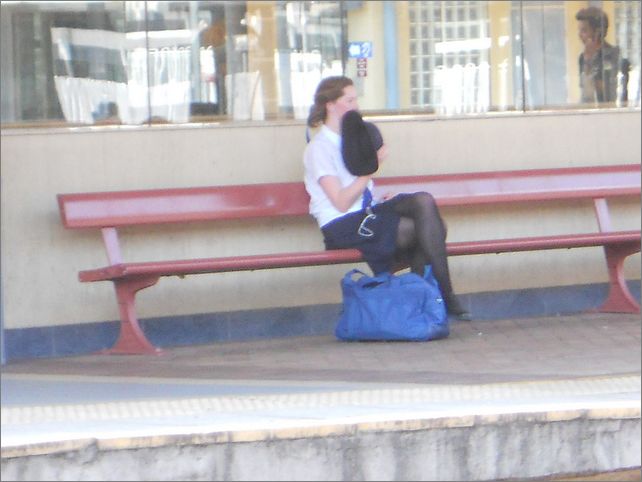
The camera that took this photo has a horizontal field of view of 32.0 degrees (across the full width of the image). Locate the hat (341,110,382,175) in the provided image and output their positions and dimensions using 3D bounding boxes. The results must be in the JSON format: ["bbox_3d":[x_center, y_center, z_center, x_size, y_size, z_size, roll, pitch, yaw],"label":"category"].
[{"bbox_3d":[0.255,-0.610,6.815,0.247,0.400,0.137,-8,0,30],"label":"hat"}]
